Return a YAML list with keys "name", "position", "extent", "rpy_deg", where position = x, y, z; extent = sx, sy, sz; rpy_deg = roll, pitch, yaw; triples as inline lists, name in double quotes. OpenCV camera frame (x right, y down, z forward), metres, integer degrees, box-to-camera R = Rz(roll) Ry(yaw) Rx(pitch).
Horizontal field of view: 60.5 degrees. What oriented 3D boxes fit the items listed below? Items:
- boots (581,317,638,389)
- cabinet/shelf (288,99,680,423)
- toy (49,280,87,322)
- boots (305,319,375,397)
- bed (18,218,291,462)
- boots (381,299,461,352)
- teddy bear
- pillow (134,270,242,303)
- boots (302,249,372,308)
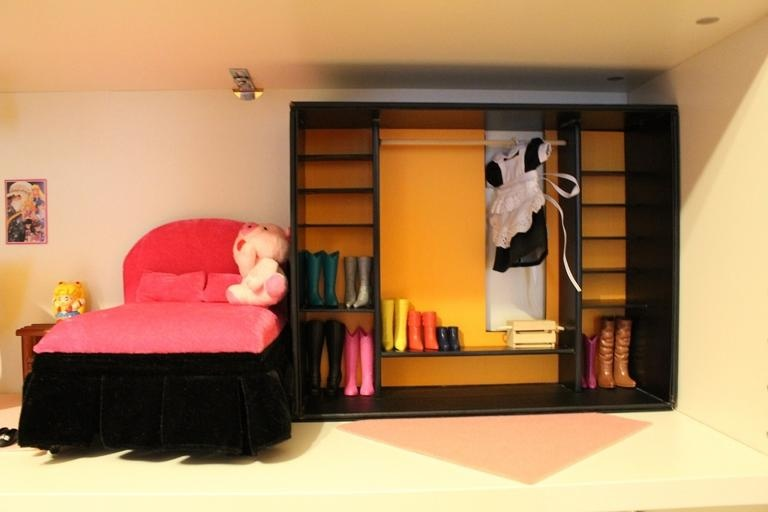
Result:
- name: "boots"
  position: [1.978, 0.847, 5.811]
  extent: [0.443, 0.617, 0.206]
  rpy_deg: [-1, -3, 16]
- name: "cabinet/shelf"
  position: [0.789, 0.040, 5.710]
  extent: [2.949, 2.137, 0.829]
  rpy_deg: [0, -6, 1]
- name: "toy"
  position: [-2.720, 0.379, 5.735]
  extent: [0.389, 0.424, 0.248]
  rpy_deg: [-1, -5, -9]
- name: "boots"
  position: [-0.389, 0.880, 5.837]
  extent: [0.614, 0.603, 0.679]
  rpy_deg: [0, -1, 18]
- name: "bed"
  position: [-1.713, 0.525, 5.748]
  extent: [2.031, 1.576, 2.330]
  rpy_deg: [1, 3, 3]
- name: "boots"
  position: [0.306, 0.588, 5.691]
  extent: [0.663, 0.433, 0.238]
  rpy_deg: [0, -3, -1]
- name: "teddy bear"
  position: [-0.981, 0.042, 5.582]
  extent: [0.599, 0.796, 0.605]
  rpy_deg: [4, -8, 1]
- name: "pillow"
  position: [-1.671, 0.261, 5.598]
  extent: [0.810, 0.245, 0.092]
  rpy_deg: [-1, -12, 4]
- name: "boots"
  position: [-0.404, 0.199, 5.707]
  extent: [0.590, 0.490, 0.494]
  rpy_deg: [0, -3, -1]
